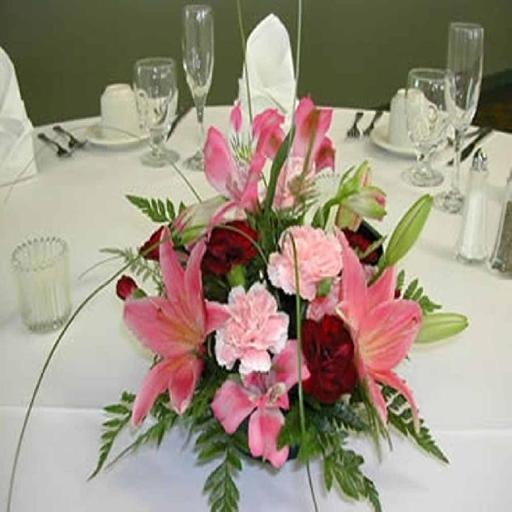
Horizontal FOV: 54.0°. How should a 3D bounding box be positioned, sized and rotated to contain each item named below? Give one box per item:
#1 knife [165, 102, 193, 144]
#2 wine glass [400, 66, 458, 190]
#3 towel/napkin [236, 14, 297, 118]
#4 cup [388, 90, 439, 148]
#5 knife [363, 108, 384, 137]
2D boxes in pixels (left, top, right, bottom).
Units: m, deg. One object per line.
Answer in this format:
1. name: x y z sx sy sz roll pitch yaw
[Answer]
1. knife: -0.176 -0.310 1.158 0.021 0.017 0.127 35 43 -15
2. wine glass: 0.328 -0.238 0.949 0.079 0.303 0.112 1 24 15
3. towel/napkin: 0.019 -0.364 0.878 0.083 0.049 0.234 -5 -8 -3
4. cup: 0.306 -0.270 0.982 0.078 0.137 0.101 5 20 17
5. knife: 0.275 -0.310 1.170 0.019 0.027 0.095 16 70 20
